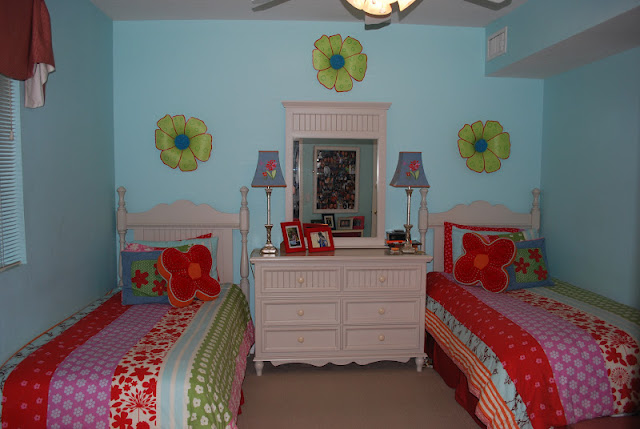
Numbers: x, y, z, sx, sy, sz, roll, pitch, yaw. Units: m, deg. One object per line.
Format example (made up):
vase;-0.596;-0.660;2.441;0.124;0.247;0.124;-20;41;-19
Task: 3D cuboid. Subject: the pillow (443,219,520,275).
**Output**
pillow;1.518;0.329;4.272;0.493;0.407;0.067;0;-4;-2

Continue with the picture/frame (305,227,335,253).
picture/frame;-0.011;0.241;4.264;0.218;0.224;0.023;0;-17;-19

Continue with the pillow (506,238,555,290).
pillow;1.923;0.453;4.129;0.434;0.442;0.132;-8;-2;-14

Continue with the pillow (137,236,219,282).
pillow;-1.388;0.377;4.406;0.975;0.291;0.680;-9;-2;-30

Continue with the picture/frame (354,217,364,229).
picture/frame;0.377;0.081;4.436;0.102;0.112;0.057;1;4;0

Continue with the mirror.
mirror;0.115;-0.395;4.383;1.310;1.901;0.184;0;0;-4

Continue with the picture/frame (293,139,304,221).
picture/frame;-0.222;-0.345;4.385;0.087;0.762;0.062;-1;6;-3

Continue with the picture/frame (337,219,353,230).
picture/frame;0.237;0.091;4.416;0.098;0.094;0.013;0;-2;-5

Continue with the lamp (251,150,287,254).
lamp;-0.478;-0.140;4.271;0.307;0.953;0.532;-1;6;-6

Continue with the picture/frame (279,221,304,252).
picture/frame;-0.261;0.205;4.237;0.244;0.338;0.032;-4;-10;-36

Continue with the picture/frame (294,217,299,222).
picture/frame;-0.229;0.049;4.361;0.061;0.063;0.035;0;5;6
